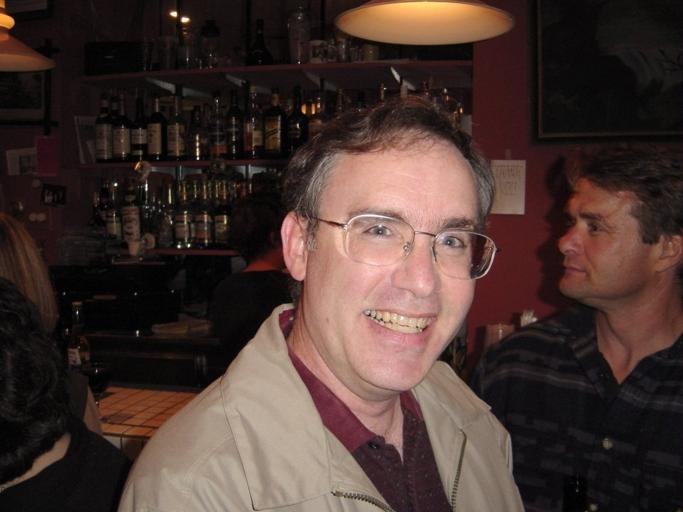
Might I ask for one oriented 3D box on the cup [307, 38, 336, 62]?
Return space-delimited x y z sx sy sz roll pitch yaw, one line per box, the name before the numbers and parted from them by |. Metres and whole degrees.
cup | -0.118 -1.282 4.004 0.161 0.144 0.151 0 3 0
